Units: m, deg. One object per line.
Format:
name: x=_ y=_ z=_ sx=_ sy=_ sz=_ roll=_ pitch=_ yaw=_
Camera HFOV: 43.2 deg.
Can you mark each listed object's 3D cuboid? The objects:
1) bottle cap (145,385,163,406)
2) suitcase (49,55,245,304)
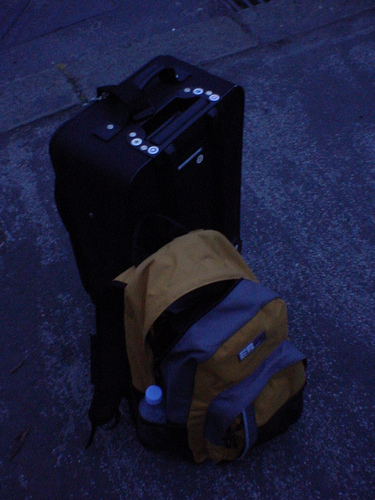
bottle cap: x=-0.103 y=0.440 z=1.436 sx=0.052 sy=0.031 sz=0.052 roll=0 pitch=74 yaw=-7
suitcase: x=-0.091 y=-0.200 z=1.789 sx=0.640 sy=0.918 sz=0.451 roll=-39 pitch=61 yaw=-23
